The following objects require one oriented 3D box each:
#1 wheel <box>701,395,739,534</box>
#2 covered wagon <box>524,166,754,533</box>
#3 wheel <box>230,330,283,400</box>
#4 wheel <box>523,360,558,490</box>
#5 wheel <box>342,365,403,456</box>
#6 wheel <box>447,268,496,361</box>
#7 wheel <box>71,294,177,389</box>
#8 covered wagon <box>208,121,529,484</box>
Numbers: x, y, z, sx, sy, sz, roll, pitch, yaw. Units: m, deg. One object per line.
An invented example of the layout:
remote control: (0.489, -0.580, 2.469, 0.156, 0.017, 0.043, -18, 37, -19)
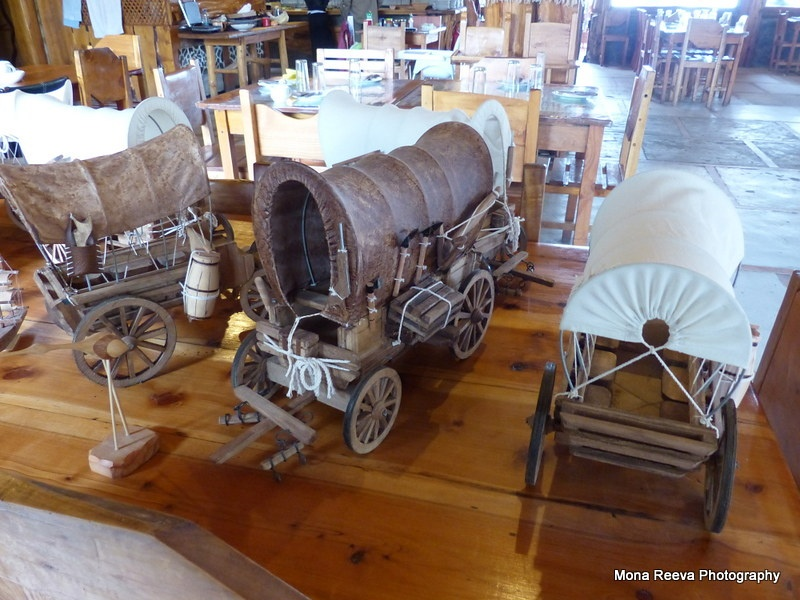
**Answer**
wheel: (1.193, 0.618, 2.216, 0.103, 0.527, 0.592, -2, -3, 27)
covered wagon: (1.047, 0.185, 2.401, 0.814, 1.123, 0.923, 12, 32, 18)
wheel: (-0.725, 0.307, 2.796, 0.101, 0.284, 0.332, 9, 12, 36)
wheel: (0.592, 0.551, 2.510, 0.117, 0.404, 0.380, 12, 63, 23)
wheel: (-0.133, 0.476, 2.550, 0.106, 0.298, 0.323, 25, 43, 27)
wheel: (0.347, 0.071, 2.995, 0.133, 0.351, 0.373, 17, 41, 24)
wheel: (-1.320, 0.208, 2.880, 0.523, 0.432, 0.141, -18, -9, 5)
covered wagon: (-0.128, -0.144, 2.919, 0.919, 1.076, 2.033, 15, 31, 33)
